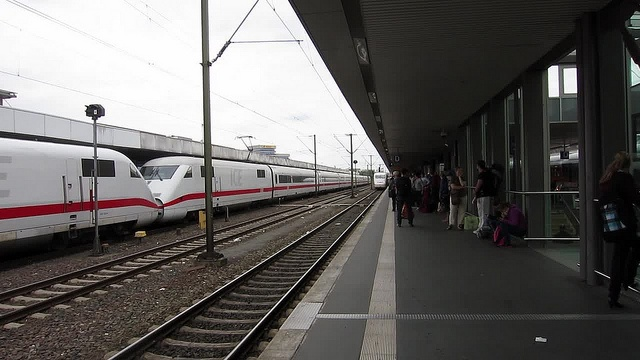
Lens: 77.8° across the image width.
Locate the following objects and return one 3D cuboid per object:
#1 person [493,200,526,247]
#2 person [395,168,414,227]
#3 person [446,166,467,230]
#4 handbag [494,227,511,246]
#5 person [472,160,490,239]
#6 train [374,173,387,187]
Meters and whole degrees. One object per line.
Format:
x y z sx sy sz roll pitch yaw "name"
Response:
5.577 1.312 11.739 0.439 1.278 0.890 -2 2 -37 "person"
3.227 0.741 15.263 0.590 2.175 0.688 -1 1 12 "person"
4.917 0.666 14.382 0.622 2.252 1.414 -1 1 18 "person"
5.426 1.680 11.844 0.361 0.543 0.286 -36 -52 25 "handbag"
5.268 0.616 12.839 0.510 2.501 1.301 -1 1 19 "person"
10.449 -0.052 68.927 2.640 2.441 8.887 -1 0 8 "train"
